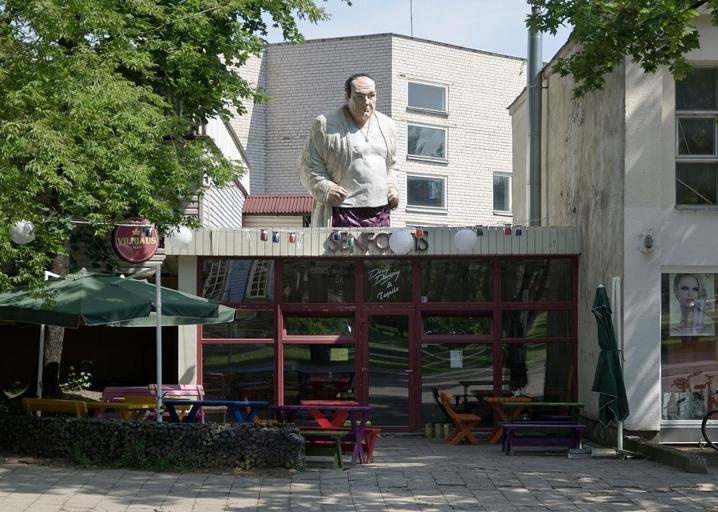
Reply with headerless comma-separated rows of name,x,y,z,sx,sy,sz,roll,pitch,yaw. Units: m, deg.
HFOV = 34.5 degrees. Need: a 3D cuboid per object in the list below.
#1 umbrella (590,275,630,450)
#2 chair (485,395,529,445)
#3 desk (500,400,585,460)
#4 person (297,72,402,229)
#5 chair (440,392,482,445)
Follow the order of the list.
umbrella,4.412,1.886,20.225,0.624,2.989,0.722,0,-4,12
chair,2.707,3.089,21.637,0.893,0.963,0.974,-6,-7,34
desk,3.386,3.137,21.068,1.139,0.582,1.217,0,-5,2
person,-0.140,-2.035,22.713,1.468,3.004,1.116,-1,-4,23
chair,1.897,3.063,21.979,0.666,0.932,0.957,1,-4,-4
